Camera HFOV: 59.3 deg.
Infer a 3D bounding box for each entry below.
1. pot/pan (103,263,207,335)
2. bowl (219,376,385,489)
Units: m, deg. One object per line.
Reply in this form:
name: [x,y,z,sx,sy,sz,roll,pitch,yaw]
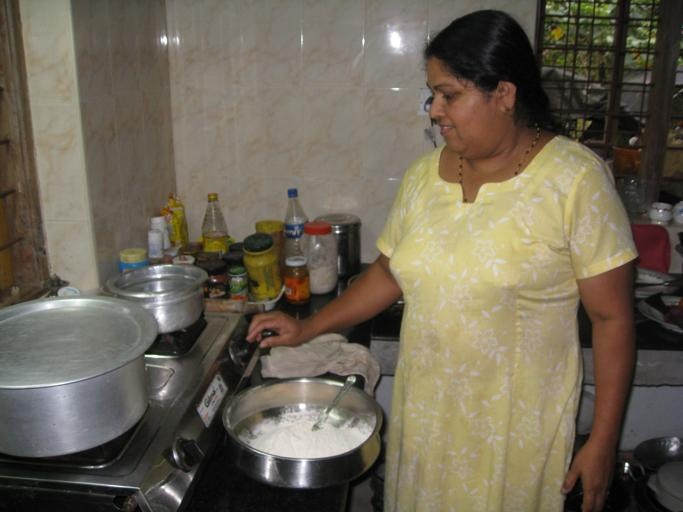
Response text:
pot/pan: [-0.461,0.097,1.581,0.189,0.094,0.218,4,18,16]
bowl: [-0.121,0.440,1.419,0.367,0.099,0.359,10,11,-2]
